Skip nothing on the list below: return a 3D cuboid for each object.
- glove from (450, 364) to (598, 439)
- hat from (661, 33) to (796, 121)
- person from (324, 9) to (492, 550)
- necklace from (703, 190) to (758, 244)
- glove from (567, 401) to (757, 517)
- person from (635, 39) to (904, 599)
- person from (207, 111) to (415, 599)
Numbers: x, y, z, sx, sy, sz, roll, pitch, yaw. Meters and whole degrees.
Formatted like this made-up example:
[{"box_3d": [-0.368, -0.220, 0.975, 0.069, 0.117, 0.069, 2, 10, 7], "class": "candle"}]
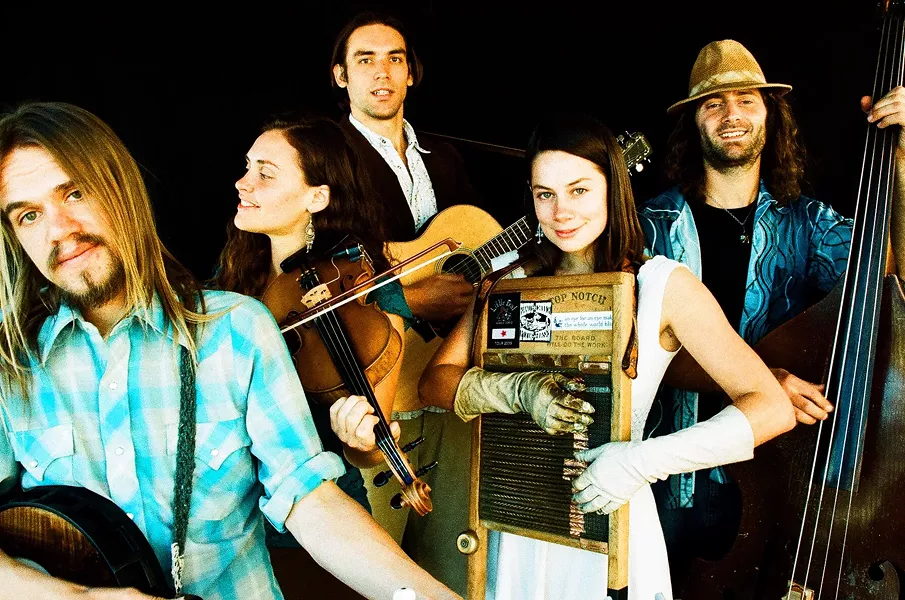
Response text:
[{"box_3d": [0.307, 0.463, 4.064, 0.483, 0.315, 0.179, 6, 17, 34], "class": "glove"}, {"box_3d": [1.580, -1.324, 5.202, 0.460, 0.238, 0.485, -10, -4, 2], "class": "hat"}, {"box_3d": [-0.265, -0.263, 5.364, 1.097, 2.903, 0.440, -5, -5, -30], "class": "person"}, {"box_3d": [1.646, -0.478, 5.187, 0.148, 0.306, 0.048, -7, -9, 42], "class": "necklace"}, {"box_3d": [0.907, 0.745, 3.960, 0.752, 0.229, 0.282, -16, 16, 0], "class": "glove"}, {"box_3d": [1.645, -0.014, 4.751, 1.438, 2.945, 0.718, 4, -4, 2], "class": "person"}, {"box_3d": [-0.814, 0.209, 4.838, 0.871, 2.561, 0.381, -6, -5, -13], "class": "person"}]
